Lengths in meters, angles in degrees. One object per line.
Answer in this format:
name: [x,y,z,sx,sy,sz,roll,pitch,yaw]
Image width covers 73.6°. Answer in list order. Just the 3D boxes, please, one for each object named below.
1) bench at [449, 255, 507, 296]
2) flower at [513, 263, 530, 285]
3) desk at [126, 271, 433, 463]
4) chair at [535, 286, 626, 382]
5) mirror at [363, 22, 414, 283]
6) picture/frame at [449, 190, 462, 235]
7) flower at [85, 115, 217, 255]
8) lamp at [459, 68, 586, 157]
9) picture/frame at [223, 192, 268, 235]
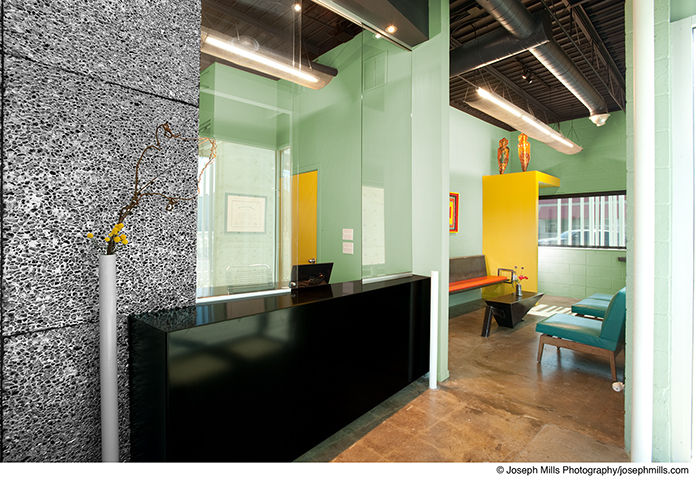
bench: [2.001,0.619,7.814,1.733,0.514,0.478,-6,7,-34]
flower: [3.129,0.632,8.435,0.250,0.332,0.282,3,11,18]
desk: [-0.160,1.071,4.336,0.506,1.100,3.073,0,2,35]
chair: [2.710,0.963,5.534,1.059,1.030,1.087,2,0,35]
mirror: [0.424,-0.919,5.092,0.431,2.589,0.955,9,15,43]
picture/frame: [1.845,-0.484,8.059,0.100,0.859,0.842,-1,0,30]
flower: [-1.402,-0.403,3.378,0.307,0.914,0.980,7,13,36]
lamp: [2.709,-1.827,7.190,0.391,0.819,3.056,9,14,43]
picture/frame: [-0.820,-0.208,3.760,0.353,0.317,0.014,3,4,8]
